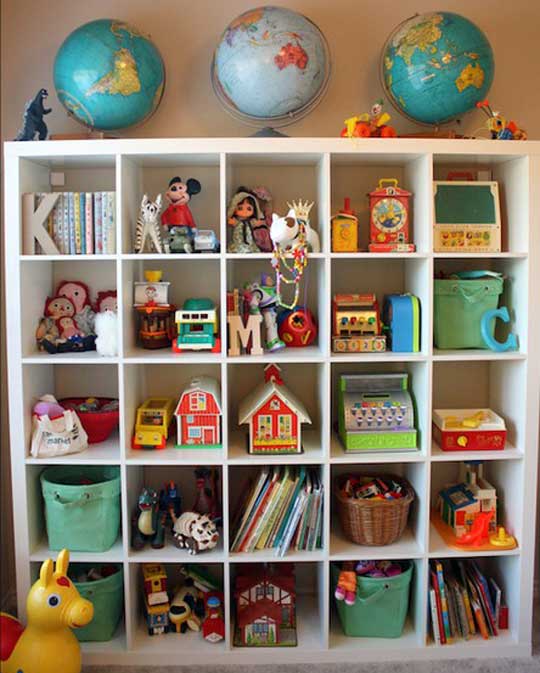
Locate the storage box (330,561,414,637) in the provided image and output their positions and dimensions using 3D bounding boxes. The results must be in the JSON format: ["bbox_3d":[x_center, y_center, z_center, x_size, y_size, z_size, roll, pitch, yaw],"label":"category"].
[{"bbox_3d":[0.391,0.909,2.224,0.223,0.185,0.259,-3,-1,22],"label":"storage box"}]

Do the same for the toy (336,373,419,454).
[{"bbox_3d":[0.377,0.266,2.267,0.253,0.248,0.257,-1,0,1],"label":"toy"}]

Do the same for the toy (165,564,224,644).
[{"bbox_3d":[-0.244,0.933,2.217,0.158,0.092,0.229,4,9,-1],"label":"toy"}]

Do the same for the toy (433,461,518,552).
[{"bbox_3d":[0.721,0.594,2.307,0.232,0.167,0.301,-11,11,-5],"label":"toy"}]

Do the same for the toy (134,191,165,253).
[{"bbox_3d":[-0.411,-0.378,2.144,0.082,0.189,0.237,2,-3,-14],"label":"toy"}]

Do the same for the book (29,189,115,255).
[{"bbox_3d":[-0.652,-0.367,2.050,0.304,0.204,0.060,-2,9,7],"label":"book"}]

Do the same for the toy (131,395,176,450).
[{"bbox_3d":[-0.408,0.308,2.234,0.121,0.131,0.233,5,11,0],"label":"toy"}]

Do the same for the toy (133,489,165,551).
[{"bbox_3d":[-0.412,0.625,2.168,0.112,0.191,0.189,1,-7,-2],"label":"toy"}]

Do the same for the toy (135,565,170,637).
[{"bbox_3d":[-0.417,0.949,2.221,0.073,0.164,0.172,13,-8,-30],"label":"toy"}]

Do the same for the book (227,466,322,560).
[{"bbox_3d":[0.018,0.581,2.171,0.324,0.277,0.222,-4,9,-5],"label":"book"}]

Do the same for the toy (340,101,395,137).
[{"bbox_3d":[0.329,-0.704,2.088,0.174,0.108,0.212,2,11,30],"label":"toy"}]

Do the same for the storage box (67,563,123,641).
[{"bbox_3d":[-0.602,0.908,2.228,0.210,0.193,0.238,0,5,1],"label":"storage box"}]

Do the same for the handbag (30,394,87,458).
[{"bbox_3d":[-0.713,0.306,2.114,0.183,0.206,0.127,-11,12,-43],"label":"handbag"}]

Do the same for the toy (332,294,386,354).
[{"bbox_3d":[0.293,-0.043,2.150,0.183,0.173,0.192,-1,1,-1],"label":"toy"}]

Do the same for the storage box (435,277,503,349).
[{"bbox_3d":[0.652,-0.078,2.185,0.266,0.228,0.231,0,-6,1],"label":"storage box"}]

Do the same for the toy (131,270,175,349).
[{"bbox_3d":[-0.406,-0.088,2.203,0.135,0.261,0.174,0,0,9],"label":"toy"}]

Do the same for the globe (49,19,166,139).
[{"bbox_3d":[-0.533,-0.851,2.061,0.356,0.362,0.198,-7,12,-13],"label":"globe"}]

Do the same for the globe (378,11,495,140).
[{"bbox_3d":[0.594,-0.918,2.230,0.374,0.394,0.448,-1,-40,12],"label":"globe"}]

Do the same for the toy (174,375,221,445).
[{"bbox_3d":[-0.244,0.251,2.241,0.152,0.213,0.270,1,9,1],"label":"toy"}]

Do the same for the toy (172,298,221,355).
[{"bbox_3d":[-0.228,-0.028,2.101,0.152,0.171,0.175,0,-1,0],"label":"toy"}]

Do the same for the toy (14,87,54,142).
[{"bbox_3d":[-0.778,-0.718,2.078,0.110,0.159,0.146,-6,10,-16],"label":"toy"}]

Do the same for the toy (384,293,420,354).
[{"bbox_3d":[0.447,-0.041,2.117,0.076,0.185,0.203,-1,0,1],"label":"toy"}]

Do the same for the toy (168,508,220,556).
[{"bbox_3d":[-0.256,0.657,2.150,0.183,0.119,0.123,9,15,36],"label":"toy"}]

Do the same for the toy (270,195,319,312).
[{"bbox_3d":[0.080,-0.259,2.044,0.166,0.354,0.135,2,12,-19],"label":"toy"}]

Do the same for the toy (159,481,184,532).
[{"bbox_3d":[-0.353,0.583,2.267,0.084,0.111,0.251,-1,10,-14],"label":"toy"}]

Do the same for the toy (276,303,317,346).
[{"bbox_3d":[0.094,-0.036,2.251,0.131,0.135,0.132,4,-20,-11],"label":"toy"}]

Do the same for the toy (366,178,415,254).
[{"bbox_3d":[0.413,-0.406,2.165,0.183,0.263,0.187,4,-4,-39],"label":"toy"}]

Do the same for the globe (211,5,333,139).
[{"bbox_3d":[0.018,-0.888,2.093,0.373,0.367,0.223,7,7,1],"label":"globe"}]

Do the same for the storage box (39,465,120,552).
[{"bbox_3d":[-0.634,0.611,2.176,0.249,0.220,0.294,-5,-5,7],"label":"storage box"}]

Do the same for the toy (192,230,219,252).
[{"bbox_3d":[-0.215,-0.319,2.127,0.084,0.060,0.084,-3,7,-16],"label":"toy"}]

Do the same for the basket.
[{"bbox_3d":[0.382,0.646,2.190,0.246,0.143,0.213,-13,-25,36],"label":"basket"}]

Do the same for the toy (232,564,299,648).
[{"bbox_3d":[-0.019,0.923,2.261,0.250,0.145,0.426,5,5,1],"label":"toy"}]

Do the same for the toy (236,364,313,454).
[{"bbox_3d":[0.008,0.247,2.180,0.228,0.276,0.214,-4,9,-2],"label":"toy"}]
